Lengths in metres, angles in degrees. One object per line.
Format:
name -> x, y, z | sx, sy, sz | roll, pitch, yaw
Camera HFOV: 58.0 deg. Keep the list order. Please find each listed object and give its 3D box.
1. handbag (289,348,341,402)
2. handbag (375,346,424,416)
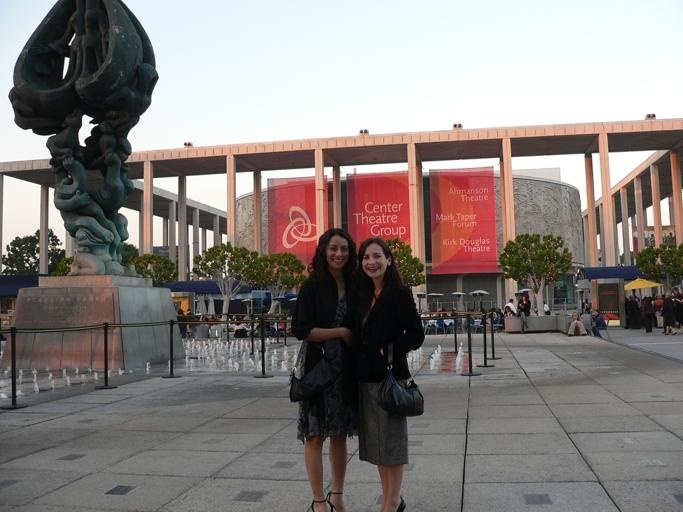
handbag -> -0.272, 1.107, 5.671 | 0.458, 0.183, 0.362 | -15, -4, 9
handbag -> 0.538, 1.156, 5.601 | 0.401, 0.619, 0.274 | 19, -27, -38
